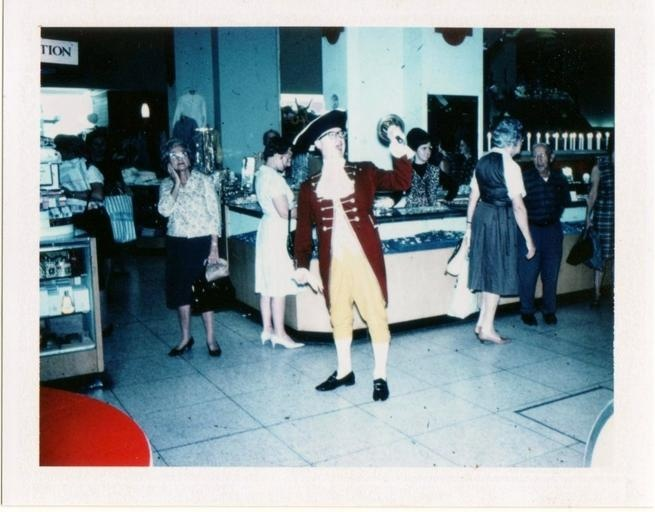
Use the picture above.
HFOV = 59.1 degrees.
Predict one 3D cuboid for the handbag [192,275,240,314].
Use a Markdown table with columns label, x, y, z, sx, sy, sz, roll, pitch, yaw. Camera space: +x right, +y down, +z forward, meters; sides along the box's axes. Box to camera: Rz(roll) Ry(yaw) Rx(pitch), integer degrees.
| label | x | y | z | sx | sy | sz | roll | pitch | yaw |
| --- | --- | --- | --- | --- | --- | --- | --- | --- | --- |
| handbag | -0.938 | 0.239 | 4.749 | 0.465 | 0.378 | 0.258 | -4 | 4 | -28 |

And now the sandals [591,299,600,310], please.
| label | x | y | z | sx | sy | sz | roll | pitch | yaw |
| --- | --- | --- | --- | --- | --- | --- | --- | --- | --- |
| sandals | 2.781 | 0.491 | 5.956 | 0.058 | 0.059 | 0.170 | 1 | 15 | 27 |

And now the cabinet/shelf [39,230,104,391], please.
| label | x | y | z | sx | sy | sz | roll | pitch | yaw |
| --- | --- | --- | --- | --- | --- | --- | --- | --- | --- |
| cabinet/shelf | -1.932 | 0.390 | 4.286 | 0.434 | 1.079 | 0.547 | -5 | 10 | -24 |

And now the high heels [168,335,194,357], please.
| label | x | y | z | sx | sy | sz | roll | pitch | yaw |
| --- | --- | --- | --- | --- | --- | --- | --- | --- | --- |
| high heels | -1.225 | 0.761 | 4.901 | 0.092 | 0.123 | 0.258 | 5 | 10 | 37 |

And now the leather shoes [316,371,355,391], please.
| label | x | y | z | sx | sy | sz | roll | pitch | yaw |
| --- | --- | --- | --- | --- | --- | --- | --- | --- | --- |
| leather shoes | 0.060 | 0.890 | 4.132 | 0.299 | 0.141 | 0.114 | -9 | 10 | -17 |

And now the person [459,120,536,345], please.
| label | x | y | z | sx | sy | sz | roll | pitch | yaw |
| --- | --- | --- | --- | --- | --- | --- | --- | --- | --- |
| person | 1.461 | -0.194 | 4.903 | 0.567 | 1.870 | 0.500 | 1 | 9 | 16 |

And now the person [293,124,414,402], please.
| label | x | y | z | sx | sy | sz | roll | pitch | yaw |
| --- | --- | --- | --- | --- | --- | --- | --- | --- | --- |
| person | 0.171 | 0.059 | 3.873 | 0.772 | 1.816 | 0.346 | -2 | 9 | -4 |

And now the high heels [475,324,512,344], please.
| label | x | y | z | sx | sy | sz | roll | pitch | yaw |
| --- | --- | --- | --- | --- | --- | --- | --- | --- | --- |
| high heels | 1.416 | 0.685 | 5.026 | 0.378 | 0.167 | 0.121 | -3 | 10 | 9 |

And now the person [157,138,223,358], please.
| label | x | y | z | sx | sy | sz | roll | pitch | yaw |
| --- | --- | --- | --- | --- | --- | --- | --- | --- | --- |
| person | -1.102 | -0.035 | 4.652 | 0.464 | 1.742 | 0.291 | -3 | 9 | -12 |

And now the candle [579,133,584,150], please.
| label | x | y | z | sx | sy | sz | roll | pitch | yaw |
| --- | --- | --- | --- | --- | --- | --- | --- | --- | --- |
| candle | 3.927 | -1.750 | 8.852 | 0.078 | 0.249 | 0.265 | 3 | 11 | 24 |

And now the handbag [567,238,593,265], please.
| label | x | y | z | sx | sy | sz | roll | pitch | yaw |
| --- | --- | --- | --- | --- | --- | --- | --- | --- | --- |
| handbag | 2.565 | -0.036 | 5.824 | 0.236 | 0.364 | 0.133 | -1 | 1 | 30 |

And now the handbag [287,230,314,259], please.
| label | x | y | z | sx | sy | sz | roll | pitch | yaw |
| --- | --- | --- | --- | --- | --- | --- | --- | --- | --- |
| handbag | -0.210 | -0.080 | 4.770 | 0.238 | 0.231 | 0.190 | -8 | 12 | -6 |

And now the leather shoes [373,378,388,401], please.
| label | x | y | z | sx | sy | sz | roll | pitch | yaw |
| --- | --- | --- | --- | --- | --- | --- | --- | --- | --- |
| leather shoes | 0.360 | 0.905 | 3.873 | 0.074 | 0.084 | 0.162 | -1 | 7 | 4 |

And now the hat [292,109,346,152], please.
| label | x | y | z | sx | sy | sz | roll | pitch | yaw |
| --- | --- | --- | --- | --- | --- | --- | --- | --- | --- |
| hat | -0.081 | -0.813 | 3.761 | 0.378 | 0.255 | 0.247 | 6 | 12 | 33 |

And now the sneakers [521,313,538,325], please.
| label | x | y | z | sx | sy | sz | roll | pitch | yaw |
| --- | --- | --- | --- | --- | --- | --- | --- | --- | --- |
| sneakers | 1.927 | 0.613 | 5.490 | 0.082 | 0.130 | 0.044 | 0 | -26 | 17 |

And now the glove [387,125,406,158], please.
| label | x | y | z | sx | sy | sz | roll | pitch | yaw |
| --- | --- | --- | --- | --- | --- | --- | --- | --- | --- |
| glove | 0.441 | -0.725 | 3.700 | 0.116 | 0.208 | 0.052 | -16 | 14 | -13 |

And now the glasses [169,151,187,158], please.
| label | x | y | z | sx | sy | sz | roll | pitch | yaw |
| --- | --- | --- | --- | --- | --- | --- | --- | --- | --- |
| glasses | -1.154 | -0.771 | 4.436 | 0.149 | 0.074 | 0.042 | -5 | 10 | -20 |

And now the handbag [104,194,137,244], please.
| label | x | y | z | sx | sy | sz | roll | pitch | yaw |
| --- | --- | --- | --- | --- | --- | --- | --- | --- | --- |
| handbag | -2.941 | -0.536 | 8.130 | 0.393 | 0.792 | 0.554 | -9 | 15 | -8 |
